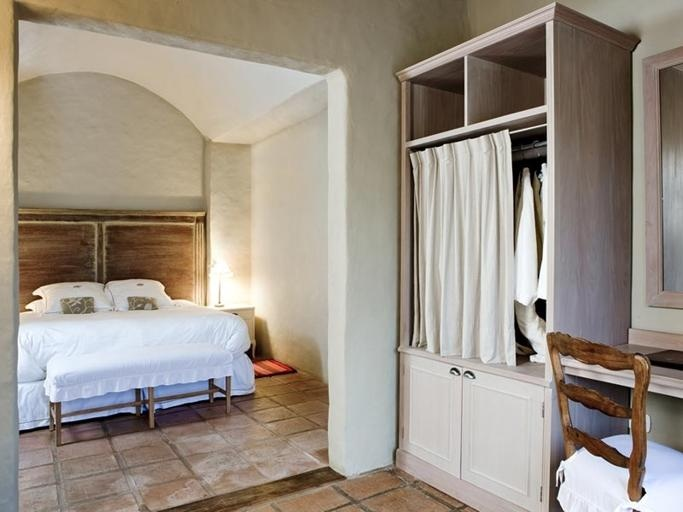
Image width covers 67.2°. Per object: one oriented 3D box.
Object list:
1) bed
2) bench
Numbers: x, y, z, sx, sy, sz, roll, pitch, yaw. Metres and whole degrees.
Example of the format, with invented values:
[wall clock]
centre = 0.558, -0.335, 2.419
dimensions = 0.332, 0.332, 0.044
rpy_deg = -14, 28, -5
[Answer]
[bed]
centre = -2.315, 0.502, 5.651
dimensions = 2.144, 1.912, 2.497
rpy_deg = 0, -1, -26
[bench]
centre = -1.882, 1.197, 4.886
dimensions = 1.734, 0.677, 0.634
rpy_deg = 3, 2, -45
